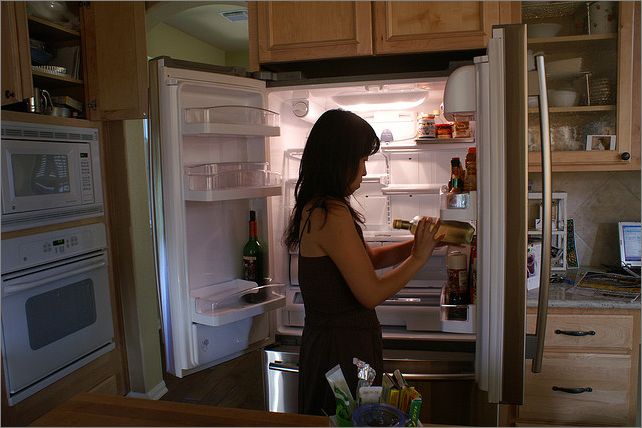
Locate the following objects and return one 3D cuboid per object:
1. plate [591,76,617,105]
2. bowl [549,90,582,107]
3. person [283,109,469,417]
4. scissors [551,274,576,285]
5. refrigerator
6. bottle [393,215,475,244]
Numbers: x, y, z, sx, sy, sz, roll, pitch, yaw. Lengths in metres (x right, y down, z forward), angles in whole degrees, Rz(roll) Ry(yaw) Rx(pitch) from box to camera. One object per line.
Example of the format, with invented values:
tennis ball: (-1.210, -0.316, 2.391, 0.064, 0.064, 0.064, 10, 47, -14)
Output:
plate: (1.533, -0.670, 2.646, 0.143, 0.143, 0.139, -2, 5, -11)
bowl: (1.336, -0.640, 2.639, 0.118, 0.067, 0.115, 0, 0, 0)
person: (0.148, 0.234, 2.032, 0.594, 1.341, 0.309, 0, 5, -4)
scissors: (1.339, 0.366, 2.715, 0.086, 0.020, 0.060, 11, 14, 36)
refrigerator: (-0.036, 0.020, 2.408, 1.204, 1.115, 0.876, 0, 1, 13)
bottle: (0.444, 0.078, 2.151, 0.434, 0.127, 0.128, 5, -1, 0)
